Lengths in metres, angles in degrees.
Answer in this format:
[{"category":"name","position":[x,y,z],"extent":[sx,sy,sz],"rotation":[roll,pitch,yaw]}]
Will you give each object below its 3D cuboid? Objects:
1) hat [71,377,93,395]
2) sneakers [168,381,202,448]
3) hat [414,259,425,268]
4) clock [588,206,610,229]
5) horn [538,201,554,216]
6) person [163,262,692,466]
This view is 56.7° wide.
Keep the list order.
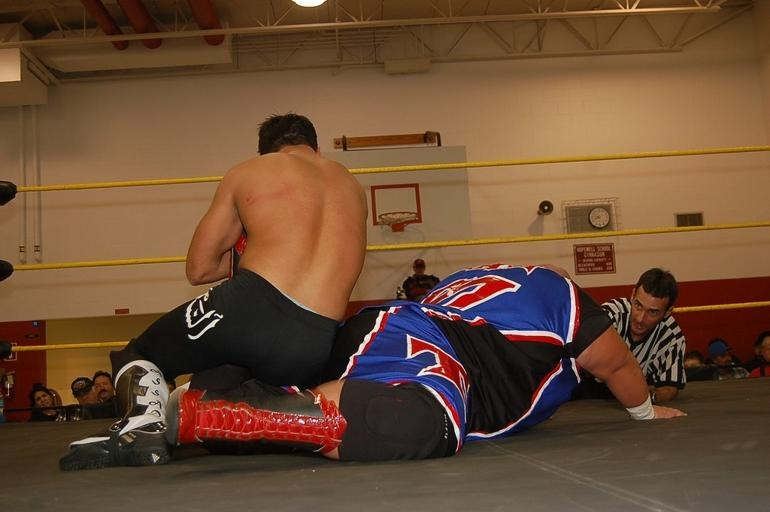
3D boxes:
[{"category":"hat","position":[-3.532,1.533,8.364],"extent":[0.228,0.114,0.303],"rotation":[-19,-21,0]},{"category":"sneakers","position":[-1.178,0.908,4.082],"extent":[0.106,0.261,0.236],"rotation":[4,2,-5]},{"category":"hat","position":[0.425,0.096,8.951],"extent":[0.097,0.110,0.109],"rotation":[2,39,-4]},{"category":"clock","position":[2.832,-0.509,9.528],"extent":[0.281,0.266,0.062],"rotation":[2,-2,-7]},{"category":"horn","position":[2.129,-0.649,9.553],"extent":[0.217,0.199,0.105],"rotation":[-2,11,2]},{"category":"person","position":[0.062,0.518,4.317],"extent":[2.126,0.704,1.280],"rotation":[-1,-9,-19]}]
